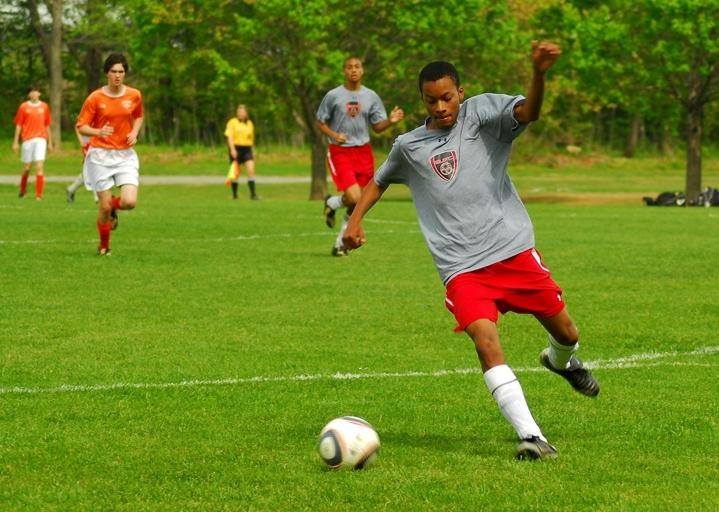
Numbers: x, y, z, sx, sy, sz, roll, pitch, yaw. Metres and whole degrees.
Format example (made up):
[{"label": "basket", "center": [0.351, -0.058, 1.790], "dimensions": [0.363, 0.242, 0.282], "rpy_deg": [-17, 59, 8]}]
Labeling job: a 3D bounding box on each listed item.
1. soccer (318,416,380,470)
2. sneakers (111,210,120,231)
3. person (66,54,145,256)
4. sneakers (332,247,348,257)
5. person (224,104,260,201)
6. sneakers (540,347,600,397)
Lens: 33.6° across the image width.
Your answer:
[{"label": "soccer", "center": [-0.080, 1.249, 8.041], "dimensions": [0.391, 0.292, 0.292], "rpy_deg": [3, -35, -22]}, {"label": "sneakers", "center": [-2.891, -0.415, 14.053], "dimensions": [0.097, 0.266, 0.120], "rpy_deg": [-12, 20, -41]}, {"label": "person", "center": [-2.660, -1.081, 12.802], "dimensions": [0.716, 2.192, 0.702], "rpy_deg": [-3, 16, -12]}, {"label": "sneakers", "center": [-0.224, -0.041, 13.613], "dimensions": [0.153, 0.142, 0.091], "rpy_deg": [-3, 0, 42]}, {"label": "person", "center": [-1.040, -0.904, 10.518], "dimensions": [0.254, 0.825, 0.295], "rpy_deg": [-9, 18, -30]}, {"label": "sneakers", "center": [1.608, 0.892, 8.866], "dimensions": [0.584, 0.203, 0.245], "rpy_deg": [32, -2, 5]}]
